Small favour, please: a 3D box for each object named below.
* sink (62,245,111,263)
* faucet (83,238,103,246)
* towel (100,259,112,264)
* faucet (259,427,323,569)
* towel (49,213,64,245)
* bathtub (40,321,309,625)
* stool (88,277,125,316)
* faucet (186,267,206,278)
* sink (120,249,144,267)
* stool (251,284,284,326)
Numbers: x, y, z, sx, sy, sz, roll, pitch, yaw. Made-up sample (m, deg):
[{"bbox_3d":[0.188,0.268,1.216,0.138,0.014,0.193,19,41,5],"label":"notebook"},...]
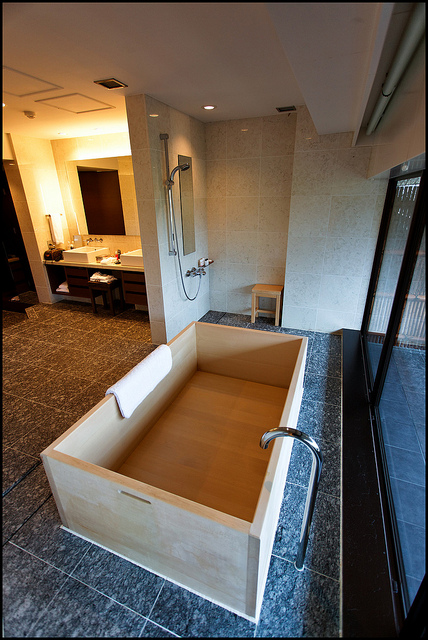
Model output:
[{"bbox_3d":[-1.795,-0.912,5.316,0.573,0.167,0.530,5,20,22],"label":"sink"},{"bbox_3d":[-1.726,-1.114,5.500,0.395,0.110,0.054,11,22,36],"label":"faucet"},{"bbox_3d":[-1.395,-0.754,4.974,0.150,0.031,0.172,-3,19,-1],"label":"towel"},{"bbox_3d":[0.346,0.821,1.746,0.307,0.961,0.102,15,38,21],"label":"faucet"},{"bbox_3d":[-2.225,-1.288,5.457,0.171,0.424,0.100,-13,20,-33],"label":"towel"},{"bbox_3d":[-0.076,0.598,2.177,1.073,0.689,1.493,5,20,21],"label":"bathtub"},{"bbox_3d":[-1.377,-0.339,5.160,0.424,0.680,0.488,0,28,4],"label":"stool"},{"bbox_3d":[-0.205,-0.527,4.344,0.108,0.049,0.154,15,32,16],"label":"faucet"},{"bbox_3d":[-0.995,-0.743,4.668,0.258,0.145,0.609,-7,19,-13],"label":"sink"},{"bbox_3d":[0.637,-0.196,4.577,0.376,0.429,0.432,3,18,15],"label":"stool"}]
